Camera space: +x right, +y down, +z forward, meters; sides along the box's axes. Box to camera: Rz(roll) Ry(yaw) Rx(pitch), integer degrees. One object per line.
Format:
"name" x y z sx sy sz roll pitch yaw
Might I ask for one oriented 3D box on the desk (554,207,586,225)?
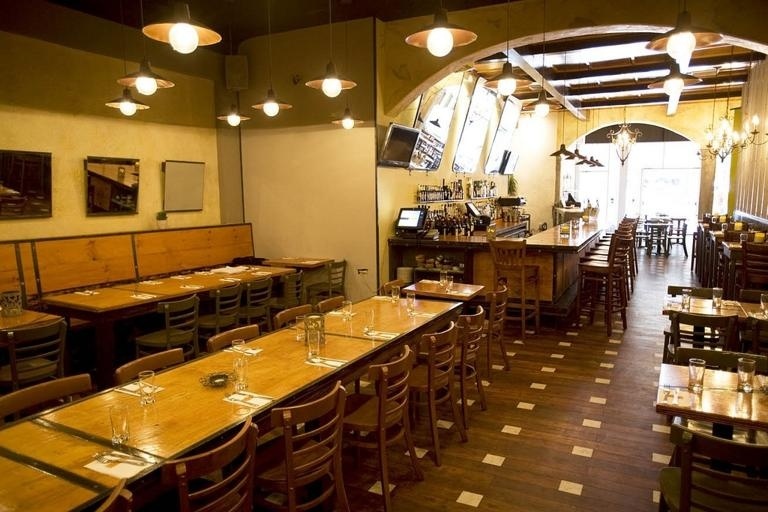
"desk" 5.075 -1.082 14.781 0.485 0.626 0.899 0 9 12

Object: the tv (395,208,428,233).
"tv" 0.491 -0.619 9.648 0.433 0.421 0.215 1 -2 28

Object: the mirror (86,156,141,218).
"mirror" -4.309 -1.088 8.571 0.079 1.060 0.966 8 10 37

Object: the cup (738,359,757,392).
"cup" 3.224 1.049 4.835 0.126 0.281 0.238 3 6 34

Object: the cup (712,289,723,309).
"cup" 3.986 0.501 6.503 0.099 0.215 0.242 3 6 30

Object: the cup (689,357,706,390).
"cup" 2.788 1.049 4.847 0.120 0.255 0.232 2 6 28

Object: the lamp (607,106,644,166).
"lamp" 7.275 -3.627 16.433 0.959 1.579 0.945 6 21 33

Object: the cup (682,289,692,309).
"cup" 3.557 0.511 6.395 0.075 0.225 0.127 2 6 23

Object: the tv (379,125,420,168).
"tv" 0.281 -1.980 9.747 0.093 0.700 1.128 26 17 24
